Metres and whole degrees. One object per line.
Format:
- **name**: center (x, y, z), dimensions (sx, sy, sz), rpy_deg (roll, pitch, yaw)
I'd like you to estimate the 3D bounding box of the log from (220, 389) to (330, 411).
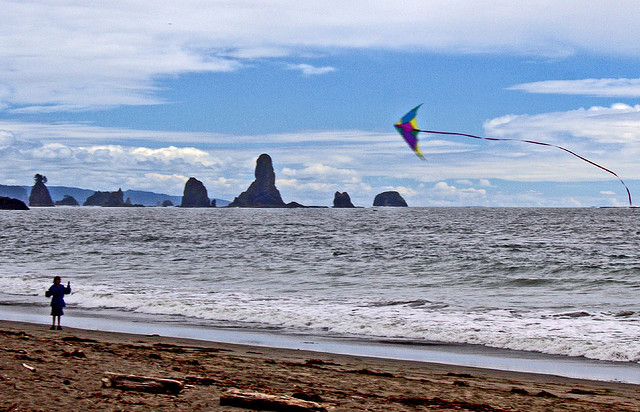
- **log**: center (-1.915, 7.158, 32.074), dimensions (5.203, 0.542, 0.998), rpy_deg (4, 6, 0)
